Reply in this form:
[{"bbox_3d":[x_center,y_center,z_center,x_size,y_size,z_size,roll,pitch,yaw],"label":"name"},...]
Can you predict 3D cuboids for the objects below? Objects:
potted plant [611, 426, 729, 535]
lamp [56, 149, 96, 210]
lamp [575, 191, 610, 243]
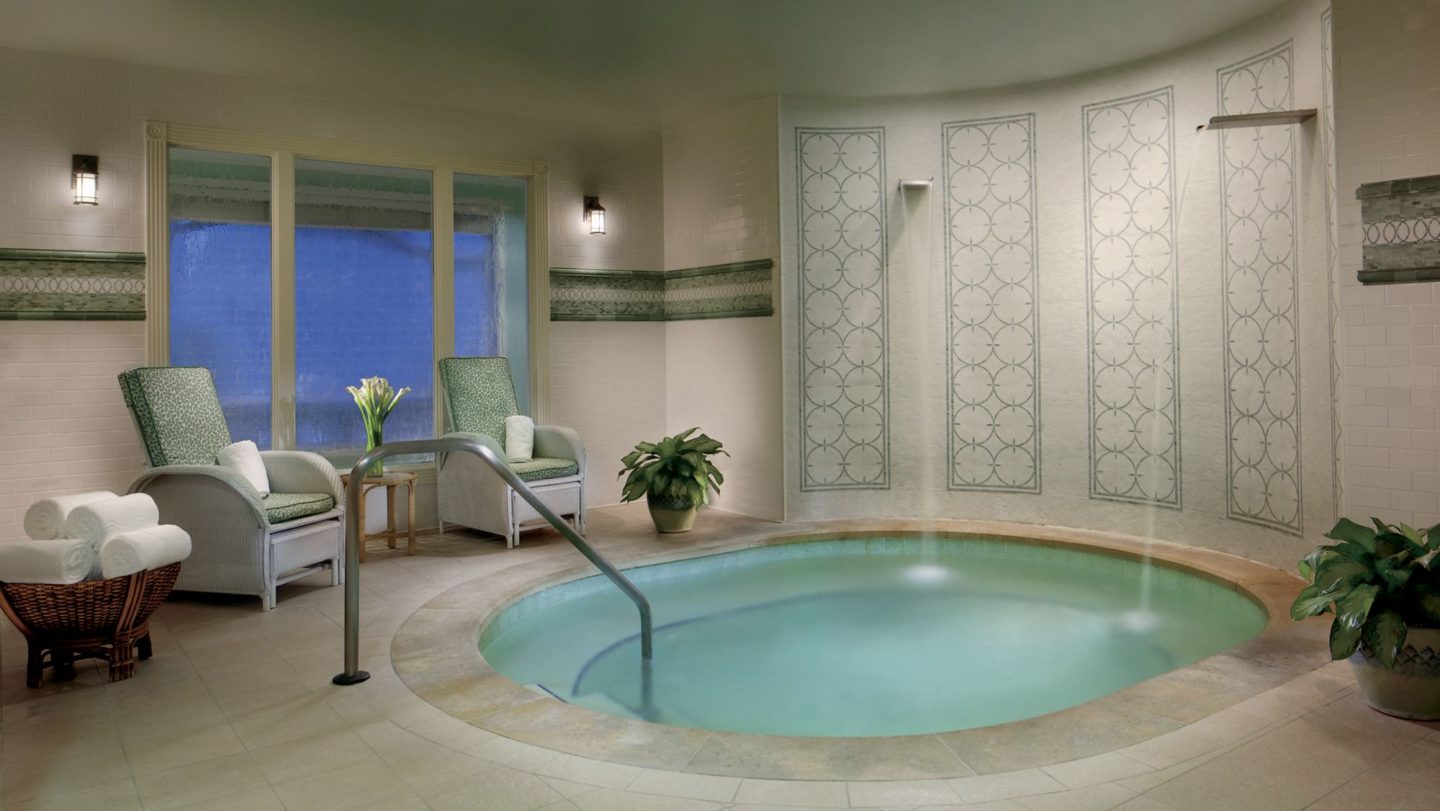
[{"bbox_3d":[-0.450,0.797,8.293,1.194,0.761,1.132,-2,-5,21],"label":"potted plant"},{"bbox_3d":[-5.792,-2.015,7.069,0.276,0.483,0.175,-10,16,-33],"label":"lamp"},{"bbox_3d":[-1.445,-2.152,8.986,0.352,0.472,0.195,-5,14,-20],"label":"lamp"}]
